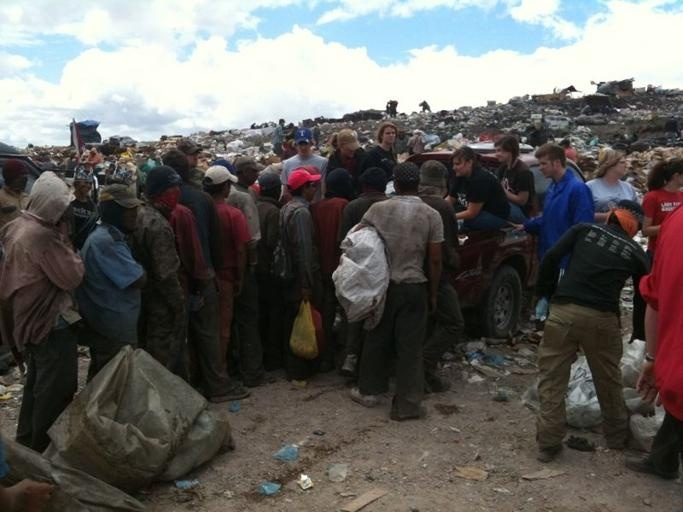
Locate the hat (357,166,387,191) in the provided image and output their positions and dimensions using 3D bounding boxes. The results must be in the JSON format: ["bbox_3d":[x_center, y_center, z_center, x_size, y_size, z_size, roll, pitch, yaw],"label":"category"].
[{"bbox_3d":[0.314,-0.811,5.684,0.242,0.244,0.275,-2,23,-8],"label":"hat"}]

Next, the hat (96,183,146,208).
[{"bbox_3d":[-1.927,-0.527,4.711,0.330,0.130,0.211,9,8,-6],"label":"hat"}]

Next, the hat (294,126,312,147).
[{"bbox_3d":[-0.534,-1.673,7.579,0.208,0.166,0.305,1,5,8],"label":"hat"}]

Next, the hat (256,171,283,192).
[{"bbox_3d":[-0.821,-0.841,6.160,0.248,0.217,0.224,-4,14,-12],"label":"hat"}]

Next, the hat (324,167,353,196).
[{"bbox_3d":[-0.021,-0.801,6.069,0.321,0.340,0.197,-1,14,-1],"label":"hat"}]

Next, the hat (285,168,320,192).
[{"bbox_3d":[-0.377,-0.828,5.949,0.402,0.193,0.244,-21,27,-16],"label":"hat"}]

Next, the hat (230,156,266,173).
[{"bbox_3d":[-1.030,-1.015,6.028,0.351,0.120,0.215,-5,11,-28],"label":"hat"}]

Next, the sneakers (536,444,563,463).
[{"bbox_3d":[1.705,1.631,4.472,0.272,0.111,0.093,5,-15,-42],"label":"sneakers"}]

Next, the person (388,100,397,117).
[{"bbox_3d":[3.066,-8.790,32.456,0.565,0.858,1.286,0,13,5],"label":"person"}]

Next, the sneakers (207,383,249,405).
[{"bbox_3d":[-1.132,1.410,5.506,0.410,0.172,0.145,-12,19,-15],"label":"sneakers"}]

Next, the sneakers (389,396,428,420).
[{"bbox_3d":[0.667,1.447,5.189,0.414,0.180,0.233,-6,14,-21],"label":"sneakers"}]

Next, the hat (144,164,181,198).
[{"bbox_3d":[-1.634,-0.692,4.984,0.302,0.228,0.286,-6,13,-14],"label":"hat"}]

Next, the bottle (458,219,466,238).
[{"bbox_3d":[1.356,-0.315,6.070,0.086,0.185,0.320,2,13,12],"label":"bottle"}]

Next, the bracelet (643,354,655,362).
[{"bbox_3d":[2.110,0.690,3.676,0.061,0.056,0.059,-29,-15,3],"label":"bracelet"}]

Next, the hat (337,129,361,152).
[{"bbox_3d":[0.047,-1.481,6.971,0.236,0.163,0.308,-7,20,-20],"label":"hat"}]

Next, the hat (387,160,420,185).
[{"bbox_3d":[0.631,-0.809,5.359,0.211,0.242,0.247,2,-3,-3],"label":"hat"}]

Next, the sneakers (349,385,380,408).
[{"bbox_3d":[0.234,1.431,5.473,0.139,0.132,0.296,-7,19,-43],"label":"sneakers"}]

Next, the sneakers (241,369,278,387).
[{"bbox_3d":[-0.876,1.318,5.858,0.382,0.130,0.148,-7,14,-25],"label":"sneakers"}]
